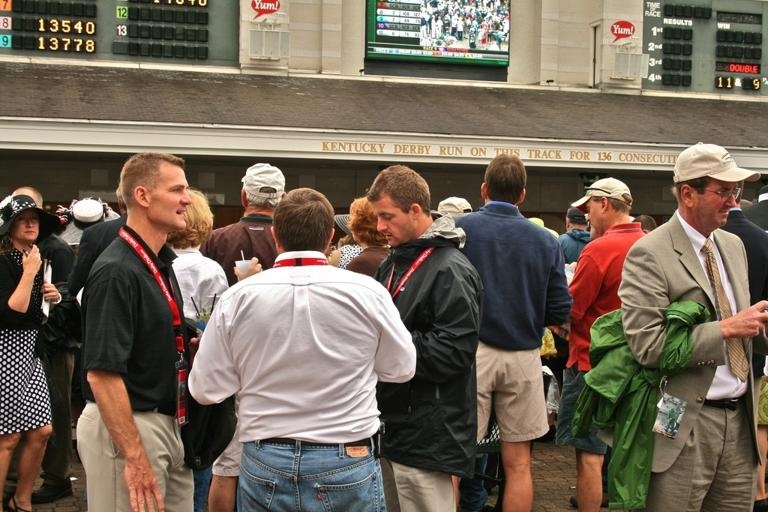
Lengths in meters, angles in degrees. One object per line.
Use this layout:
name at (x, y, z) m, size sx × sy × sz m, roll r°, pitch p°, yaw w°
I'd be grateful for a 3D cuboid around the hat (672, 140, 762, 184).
hat at (3.202, -0.889, 11.979) m, size 0.646 × 0.314 × 0.427 m, roll -5°, pitch 0°, yaw 26°

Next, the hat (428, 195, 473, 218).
hat at (0.856, -0.594, 15.237) m, size 0.369 × 0.186 × 0.507 m, roll -1°, pitch -3°, yaw 10°

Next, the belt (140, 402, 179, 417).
belt at (-2.122, 1.442, 11.582) m, size 0.226 × 0.191 × 0.058 m, roll 4°, pitch 6°, yaw -18°

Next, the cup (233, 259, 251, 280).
cup at (-1.425, 0.141, 12.254) m, size 0.196 × 0.192 × 0.198 m, roll -1°, pitch -13°, yaw 0°

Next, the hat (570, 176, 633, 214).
hat at (2.544, -0.725, 13.974) m, size 0.457 × 0.311 × 0.612 m, roll -2°, pitch 2°, yaw -40°
